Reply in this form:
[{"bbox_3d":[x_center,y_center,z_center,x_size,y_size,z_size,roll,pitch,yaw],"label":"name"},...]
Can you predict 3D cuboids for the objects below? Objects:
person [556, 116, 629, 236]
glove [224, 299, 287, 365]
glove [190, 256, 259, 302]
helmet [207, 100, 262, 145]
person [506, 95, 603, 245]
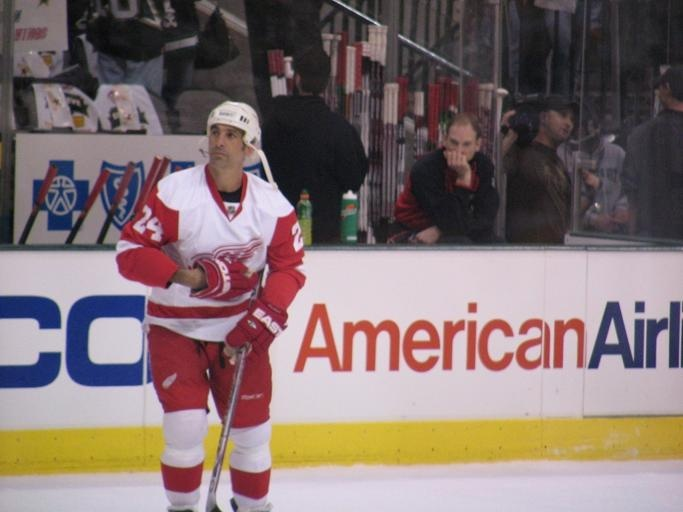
[{"bbox_3d":[1.819,-0.544,10.591,0.508,0.774,0.269,1,14,11],"label":"person"},{"bbox_3d":[-0.470,0.403,8.569,0.237,0.395,0.159,44,-6,-12],"label":"glove"},{"bbox_3d":[-0.647,0.139,8.521,0.386,0.243,0.212,1,2,-8],"label":"glove"},{"bbox_3d":[-0.574,-0.752,8.619,0.201,0.237,0.286,11,1,15],"label":"helmet"},{"bbox_3d":[1.380,-0.589,10.330,0.526,1.010,0.340,1,2,-3],"label":"person"}]
